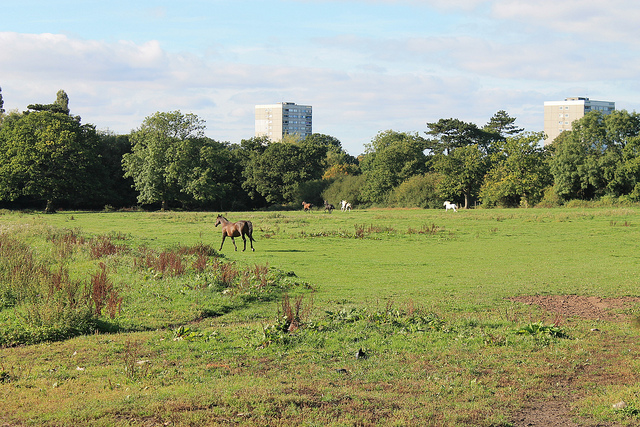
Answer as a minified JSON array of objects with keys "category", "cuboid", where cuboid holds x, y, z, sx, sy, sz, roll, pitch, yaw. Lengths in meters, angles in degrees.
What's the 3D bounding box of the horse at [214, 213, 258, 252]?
[{"category":"horse","cuboid":[-7.508,1.702,100.148,4.682,3.221,1.341,0,0,38]}]
